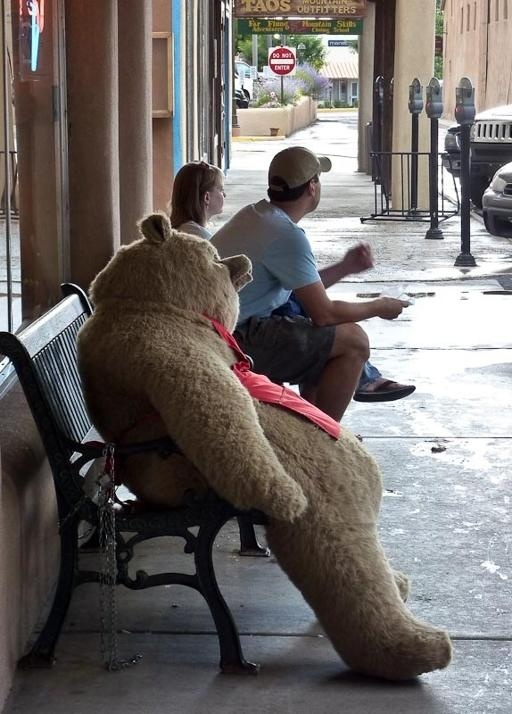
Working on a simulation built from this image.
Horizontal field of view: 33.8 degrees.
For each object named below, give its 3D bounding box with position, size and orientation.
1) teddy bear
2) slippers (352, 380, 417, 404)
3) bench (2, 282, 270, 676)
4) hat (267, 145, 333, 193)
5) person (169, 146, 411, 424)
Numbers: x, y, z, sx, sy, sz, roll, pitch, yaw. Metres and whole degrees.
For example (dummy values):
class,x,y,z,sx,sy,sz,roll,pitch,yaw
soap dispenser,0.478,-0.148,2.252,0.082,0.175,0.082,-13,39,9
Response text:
class,x,y,z,sx,sy,sz,roll,pitch,yaw
teddy bear,0.031,0.205,2.045,0.882,1.053,0.587,1,-3,11
slippers,0.631,0.169,4.161,0.295,0.093,0.120,-7,5,24
bench,-0.396,0.297,2.357,0.804,0.913,1.159,0,5,-5
hat,0.163,-0.799,3.335,0.189,0.155,0.280,18,46,36
person,0.255,-0.433,3.781,1.253,1.357,0.852,-4,21,-19
